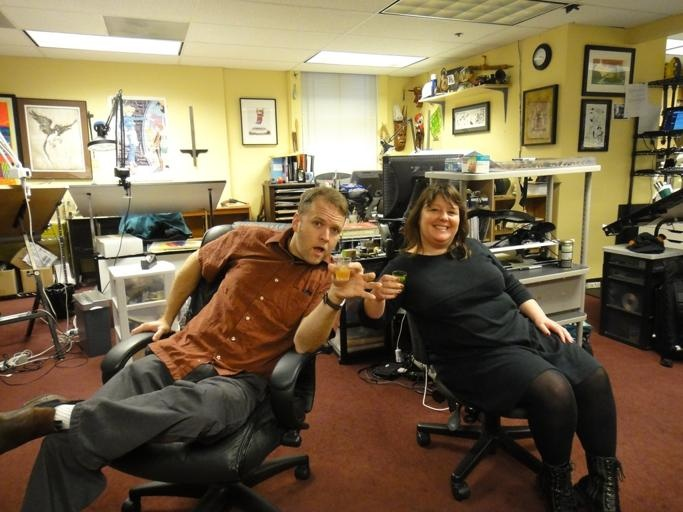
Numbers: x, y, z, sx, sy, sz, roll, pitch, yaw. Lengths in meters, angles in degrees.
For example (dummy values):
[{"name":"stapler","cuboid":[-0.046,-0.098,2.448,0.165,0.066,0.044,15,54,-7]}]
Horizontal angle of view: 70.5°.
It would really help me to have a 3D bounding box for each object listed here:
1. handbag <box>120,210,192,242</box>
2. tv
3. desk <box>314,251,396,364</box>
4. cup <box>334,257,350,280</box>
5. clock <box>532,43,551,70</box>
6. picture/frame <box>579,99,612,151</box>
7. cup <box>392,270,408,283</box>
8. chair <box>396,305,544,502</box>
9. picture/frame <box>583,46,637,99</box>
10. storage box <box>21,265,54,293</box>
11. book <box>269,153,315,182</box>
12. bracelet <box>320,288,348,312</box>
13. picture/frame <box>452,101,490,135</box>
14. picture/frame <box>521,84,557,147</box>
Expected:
[{"name":"handbag","cuboid":[-1.778,-0.285,4.629,0.347,0.158,0.480,4,4,36]},{"name":"tv","cuboid":[0.579,-0.502,3.733,0.576,0.495,0.305,1,-4,1]},{"name":"desk","cuboid":[0.088,0.400,3.875,0.562,0.762,0.555,-3,7,-17]},{"name":"cup","cuboid":[0.002,0.056,2.061,0.091,0.093,0.087,0,0,0]},{"name":"clock","cuboid":[2.145,-2.139,5.183,0.060,0.272,0.260,-7,13,-15]},{"name":"picture/frame","cuboid":[2.672,-1.386,5.106,0.413,0.537,0.091,-8,13,-22]},{"name":"cup","cuboid":[0.289,0.100,2.373,0.062,0.052,0.062,0,4,0]},{"name":"chair","cuboid":[0.840,0.668,2.611,0.790,0.987,0.787,8,22,16]},{"name":"picture/frame","cuboid":[2.764,-1.931,5.032,0.666,0.502,0.043,-4,8,-20]},{"name":"storage box","cuboid":[-2.971,0.213,4.752,0.300,0.268,0.154,-3,16,-27]},{"name":"book","cuboid":[-0.660,-1.207,6.535,0.709,0.346,0.496,1,12,3]},{"name":"bracelet","cuboid":[-0.018,0.200,2.130,0.080,0.034,0.092,23,2,29]},{"name":"picture/frame","cuboid":[1.675,-1.779,6.265,0.048,0.376,0.694,-10,13,-24]},{"name":"picture/frame","cuboid":[2.161,-1.526,5.288,0.093,0.611,0.486,-8,13,-17]}]
